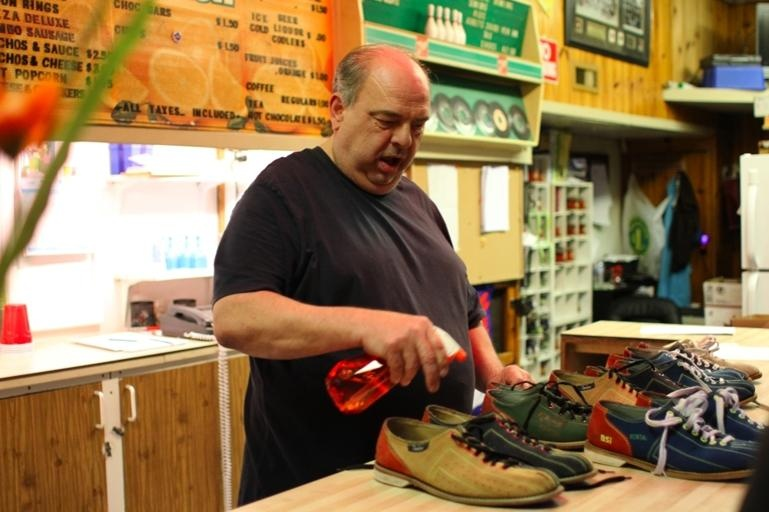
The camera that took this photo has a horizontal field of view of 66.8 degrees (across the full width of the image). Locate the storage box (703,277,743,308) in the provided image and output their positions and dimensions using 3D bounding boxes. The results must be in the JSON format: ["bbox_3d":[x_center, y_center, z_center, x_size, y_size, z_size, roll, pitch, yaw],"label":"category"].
[{"bbox_3d":[3.165,0.344,5.497,0.296,0.245,0.367,-2,-4,29],"label":"storage box"}]

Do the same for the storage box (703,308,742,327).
[{"bbox_3d":[2.849,0.512,4.932,0.278,0.166,0.271,0,4,4],"label":"storage box"}]

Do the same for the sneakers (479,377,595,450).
[{"bbox_3d":[0.330,0.338,1.284,0.266,0.105,0.105,3,1,18],"label":"sneakers"}]

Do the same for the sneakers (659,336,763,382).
[{"bbox_3d":[0.987,0.312,1.758,0.221,0.087,0.075,17,1,12],"label":"sneakers"}]

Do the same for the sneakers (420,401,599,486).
[{"bbox_3d":[0.197,0.333,1.075,0.355,0.106,0.120,10,3,18],"label":"sneakers"}]

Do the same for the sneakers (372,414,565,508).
[{"bbox_3d":[0.145,0.348,1.066,0.336,0.117,0.125,1,-1,21],"label":"sneakers"}]

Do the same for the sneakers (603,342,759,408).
[{"bbox_3d":[0.728,0.288,1.429,0.279,0.087,0.214,9,-1,5],"label":"sneakers"}]
